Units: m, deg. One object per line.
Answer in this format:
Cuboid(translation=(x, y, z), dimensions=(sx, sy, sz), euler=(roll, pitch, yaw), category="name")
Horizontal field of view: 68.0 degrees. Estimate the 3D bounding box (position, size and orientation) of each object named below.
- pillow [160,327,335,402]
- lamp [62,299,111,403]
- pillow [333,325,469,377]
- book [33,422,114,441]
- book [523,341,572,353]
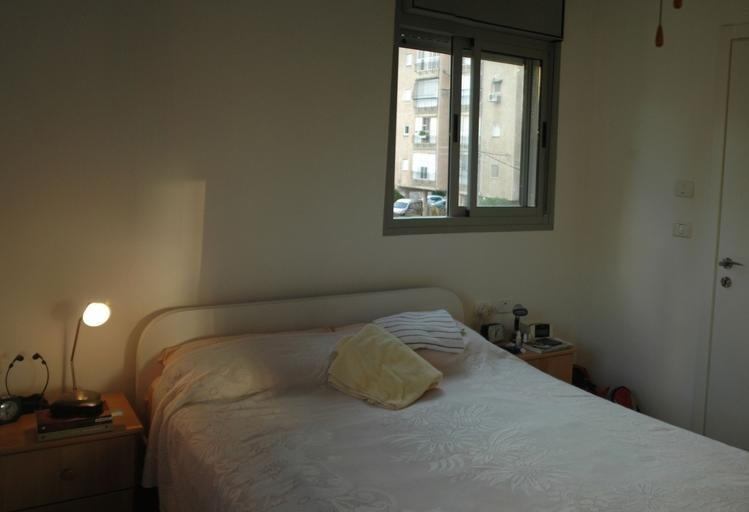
Cuboid(translation=(-0.665, 0.571, 2.903), dimensions=(0.680, 0.403, 0.184), euler=(0, -39, -16), category="pillow")
Cuboid(translation=(-1.490, 0.486, 2.882), dimensions=(0.238, 0.481, 0.286), euler=(-4, 6, -24), category="lamp")
Cuboid(translation=(0.263, 0.530, 3.288), dimensions=(0.518, 0.132, 0.330), euler=(10, 29, 1), category="pillow")
Cuboid(translation=(-1.451, 0.851, 2.687), dimensions=(0.324, 0.039, 0.027), euler=(-3, 6, -22), category="book")
Cuboid(translation=(1.248, 0.645, 3.962), dimensions=(0.211, 0.030, 0.124), euler=(-3, 12, -25), category="book")
